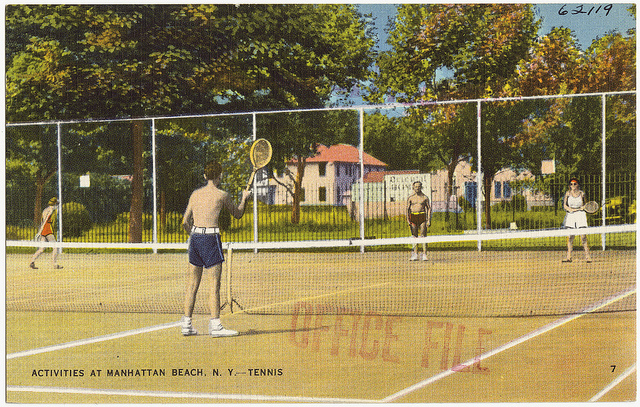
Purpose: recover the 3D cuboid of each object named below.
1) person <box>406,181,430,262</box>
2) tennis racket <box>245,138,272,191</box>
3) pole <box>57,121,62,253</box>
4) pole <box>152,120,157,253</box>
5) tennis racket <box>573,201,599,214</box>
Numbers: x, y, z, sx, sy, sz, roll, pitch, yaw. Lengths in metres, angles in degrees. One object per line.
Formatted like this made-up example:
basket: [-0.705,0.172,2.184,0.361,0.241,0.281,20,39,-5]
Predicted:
person: [2.901,0.527,28.144,0.652,2.308,0.884,-1,0,5]
tennis racket: [-1.476,-1.059,23.546,0.435,1.513,0.197,15,-17,-16]
pole: [-8.146,-0.689,30.068,0.114,3.541,0.391,-1,0,-15]
pole: [-5.069,-0.720,29.470,0.100,3.638,0.594,-1,0,-10]
tennis racket: [7.813,0.091,27.830,0.502,0.358,0.996,-1,0,40]
